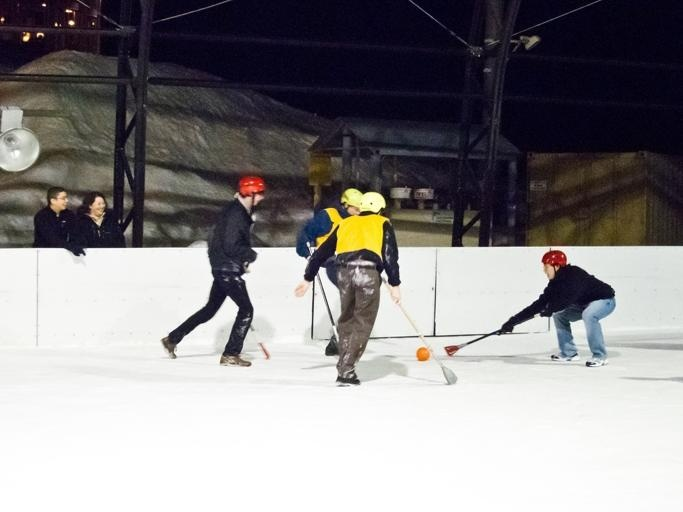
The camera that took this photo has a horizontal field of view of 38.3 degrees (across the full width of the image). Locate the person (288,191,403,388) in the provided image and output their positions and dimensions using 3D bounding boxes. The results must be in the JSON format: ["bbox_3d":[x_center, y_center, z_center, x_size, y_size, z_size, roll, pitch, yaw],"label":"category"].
[{"bbox_3d":[0.170,0.435,12.258,1.131,2.387,0.889,1,13,2],"label":"person"}]

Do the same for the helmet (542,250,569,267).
[{"bbox_3d":[2.920,0.042,13.467,0.276,0.237,0.221,8,1,23],"label":"helmet"}]

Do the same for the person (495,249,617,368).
[{"bbox_3d":[3.113,0.735,13.742,1.198,1.579,1.389,0,-3,-43],"label":"person"}]

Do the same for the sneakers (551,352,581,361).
[{"bbox_3d":[3.118,1.432,13.748,0.269,0.107,0.154,3,-2,7],"label":"sneakers"}]

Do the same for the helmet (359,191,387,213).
[{"bbox_3d":[0.402,-0.659,12.343,0.232,0.281,0.298,2,-12,-10],"label":"helmet"}]

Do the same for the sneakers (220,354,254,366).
[{"bbox_3d":[-1.364,1.391,13.009,0.432,0.194,0.159,2,-1,-4],"label":"sneakers"}]

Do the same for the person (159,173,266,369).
[{"bbox_3d":[-1.592,0.222,13.075,0.997,2.531,0.668,4,14,15],"label":"person"}]
